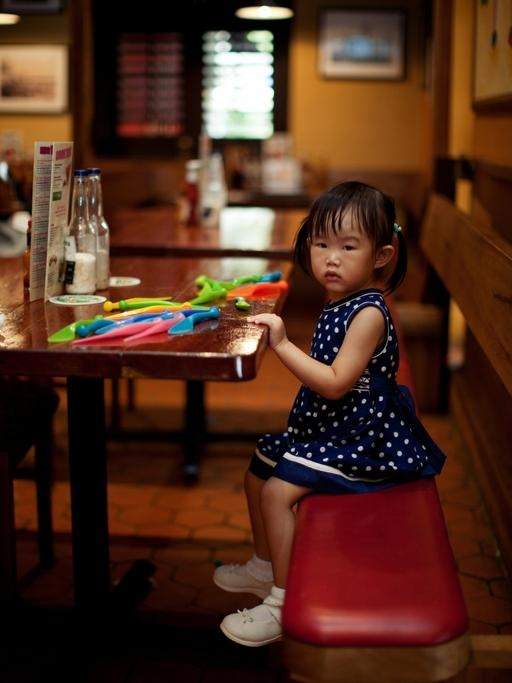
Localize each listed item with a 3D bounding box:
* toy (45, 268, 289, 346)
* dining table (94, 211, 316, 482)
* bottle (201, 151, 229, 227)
[{"bbox_3d":[-0.121,-0.095,1.042,0.132,0.040,0.439,8,13,22],"label":"toy"},{"bbox_3d":[-0.159,0.025,1.681,0.605,0.503,1.044,0,25,2],"label":"dining table"},{"bbox_3d":[-0.183,-0.664,2.696,0.135,0.284,0.120,10,12,40],"label":"bottle"}]
